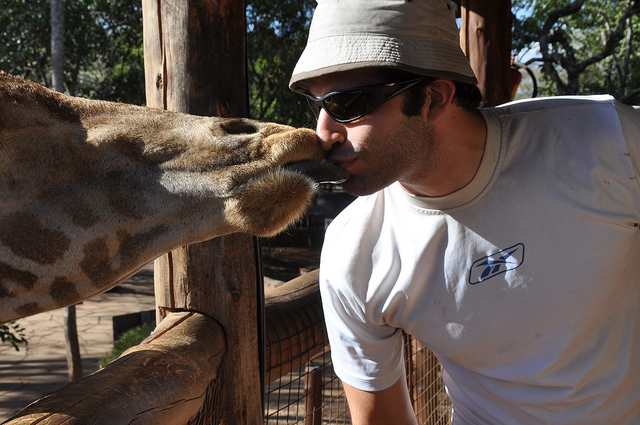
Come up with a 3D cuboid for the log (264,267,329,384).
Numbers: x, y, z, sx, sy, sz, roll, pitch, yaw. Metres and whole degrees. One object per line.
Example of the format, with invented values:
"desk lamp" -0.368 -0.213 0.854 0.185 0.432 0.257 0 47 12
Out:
"log" -0.147 0.779 5.349 0.269 0.455 1.557 2 7 14
